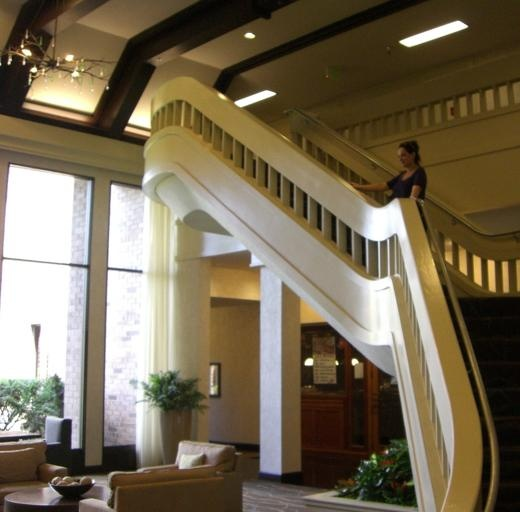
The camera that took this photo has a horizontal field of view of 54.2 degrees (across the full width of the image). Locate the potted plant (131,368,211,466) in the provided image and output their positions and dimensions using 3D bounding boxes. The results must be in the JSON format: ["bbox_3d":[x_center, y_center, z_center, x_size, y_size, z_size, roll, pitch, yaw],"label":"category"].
[{"bbox_3d":[-1.456,2.856,9.282,1.167,1.956,1.466,-4,-13,13],"label":"potted plant"}]
